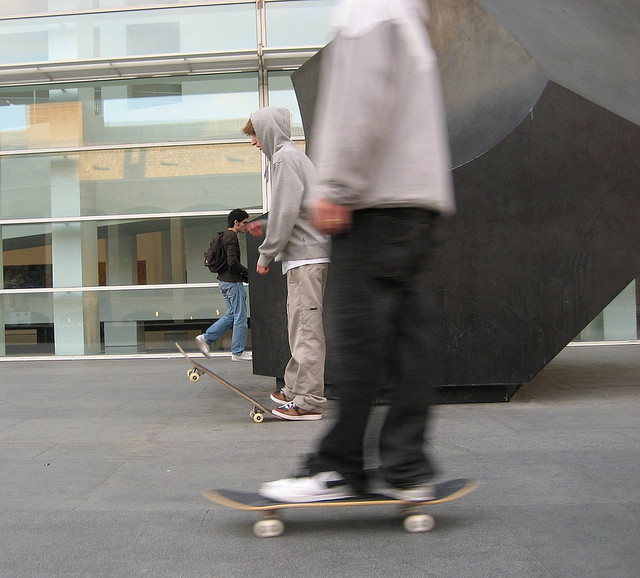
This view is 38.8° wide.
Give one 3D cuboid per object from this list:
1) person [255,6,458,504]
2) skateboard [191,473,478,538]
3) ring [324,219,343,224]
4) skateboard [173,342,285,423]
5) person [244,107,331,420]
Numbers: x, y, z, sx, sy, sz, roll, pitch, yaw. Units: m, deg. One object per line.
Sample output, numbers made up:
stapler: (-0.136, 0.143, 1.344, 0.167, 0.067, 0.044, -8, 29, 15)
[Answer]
person: (0.229, -0.168, 4.032, 0.789, 2.180, 0.261, -2, 4, -6)
skateboard: (0.010, 0.910, 4.056, 1.358, 0.179, 0.371, 0, 0, -2)
ring: (0.060, -0.296, 3.964, 0.079, 0.019, 0.013, -1, 3, -1)
skateboard: (-0.717, 0.749, 7.292, 0.757, 0.119, 0.168, 30, -2, 0)
person: (-0.299, -0.178, 5.957, 0.867, 1.987, 0.659, 2, 0, -12)
